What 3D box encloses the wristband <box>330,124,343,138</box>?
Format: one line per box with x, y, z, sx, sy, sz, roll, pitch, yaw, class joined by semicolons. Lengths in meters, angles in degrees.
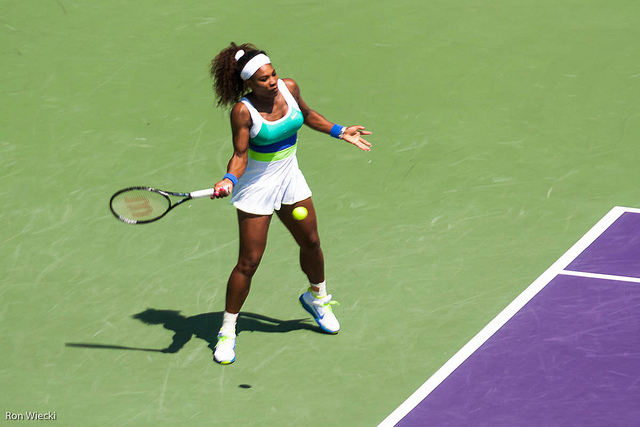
0.155;-0.841;7.342;0.093;0.121;0.120;23;54;-5;wristband

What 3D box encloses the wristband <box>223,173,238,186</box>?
-0.840;-0.317;6.784;0.116;0.146;0.126;21;63;-2;wristband

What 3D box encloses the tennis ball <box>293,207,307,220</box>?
-0.196;-0.004;7.107;0.137;0.069;0.104;3;65;-11;tennis ball

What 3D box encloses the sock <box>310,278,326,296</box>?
-0.019;0.783;7.471;0.169;0.153;0.122;7;64;-9;sock
